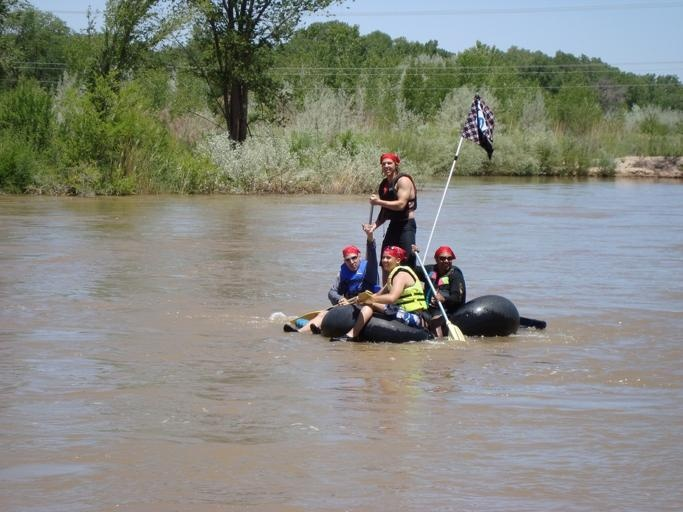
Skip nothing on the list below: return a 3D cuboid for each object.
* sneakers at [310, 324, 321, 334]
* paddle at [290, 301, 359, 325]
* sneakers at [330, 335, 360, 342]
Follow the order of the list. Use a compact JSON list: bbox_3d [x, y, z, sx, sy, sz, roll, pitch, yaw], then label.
[{"bbox_3d":[-0.351,0.944,14.063,0.065,0.193,0.082,-44,12,-14],"label":"sneakers"},{"bbox_3d":[-0.223,0.757,14.308,0.714,0.125,0.097,-19,34,28],"label":"paddle"},{"bbox_3d":[0.027,1.047,13.728,0.313,0.105,0.107,6,-12,-5],"label":"sneakers"}]
